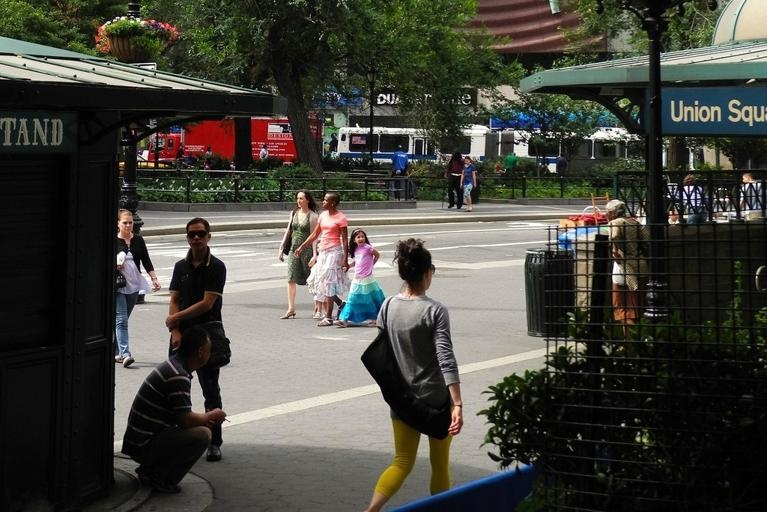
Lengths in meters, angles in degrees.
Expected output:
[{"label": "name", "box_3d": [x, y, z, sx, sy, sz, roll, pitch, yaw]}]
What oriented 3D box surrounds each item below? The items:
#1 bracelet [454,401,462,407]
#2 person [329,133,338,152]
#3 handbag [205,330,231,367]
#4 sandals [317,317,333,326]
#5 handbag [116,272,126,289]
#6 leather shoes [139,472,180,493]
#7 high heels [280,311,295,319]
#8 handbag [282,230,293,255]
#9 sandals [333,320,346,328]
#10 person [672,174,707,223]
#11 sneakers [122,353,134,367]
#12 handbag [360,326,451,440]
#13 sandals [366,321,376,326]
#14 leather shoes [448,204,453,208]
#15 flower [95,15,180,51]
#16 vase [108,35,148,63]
[{"label": "bracelet", "box_3d": [0.521, 1.039, 5.957, 0.049, 0.032, 0.061, 0, 7, 3]}, {"label": "person", "box_3d": [-3.789, -8.530, 65.073, 0.520, 1.397, 1.233, -2, 5, -19]}, {"label": "handbag", "box_3d": [-1.441, 0.836, 7.525, 0.218, 0.271, 0.283, 2, 5, 1]}, {"label": "sandals", "box_3d": [-0.895, 1.032, 13.109, 0.090, 0.094, 0.256, -1, -4, 33]}, {"label": "handbag", "box_3d": [-3.172, 0.296, 10.400, 0.099, 0.228, 0.154, 0, 5, -2]}, {"label": "leather shoes", "box_3d": [-1.756, 1.805, 6.797, 0.361, 0.150, 0.126, 3, 3, 7]}, {"label": "high heels", "box_3d": [-1.490, 0.953, 13.557, 0.265, 0.121, 0.088, 10, -19, -34]}, {"label": "handbag", "box_3d": [-1.516, -0.186, 13.487, 0.137, 0.300, 0.225, 6, 7, 8]}, {"label": "sandals", "box_3d": [-0.663, 1.047, 13.031, 0.180, 0.072, 0.079, 20, 6, -8]}, {"label": "person", "box_3d": [4.643, -0.871, 12.983, 0.464, 0.670, 1.736, 2, 5, 19]}, {"label": "sneakers", "box_3d": [-3.101, 1.268, 10.399, 0.086, 0.098, 0.234, 0, 2, -27]}, {"label": "handbag", "box_3d": [0.185, 0.921, 6.055, 0.614, 0.733, 0.200, -18, -3, 27]}, {"label": "sandals", "box_3d": [-0.205, 1.058, 13.224, 0.188, 0.069, 0.055, 3, 3, 21]}, {"label": "leather shoes", "box_3d": [2.517, -1.837, 32.745, 0.199, 0.178, 0.118, 5, 35, 17]}, {"label": "flower", "box_3d": [-3.815, -3.280, 13.115, 1.354, 0.579, 1.485, -1, 5, -10]}, {"label": "vase", "box_3d": [-3.769, -2.981, 12.580, 0.722, 0.395, 0.389, 3, 6, 29]}]
